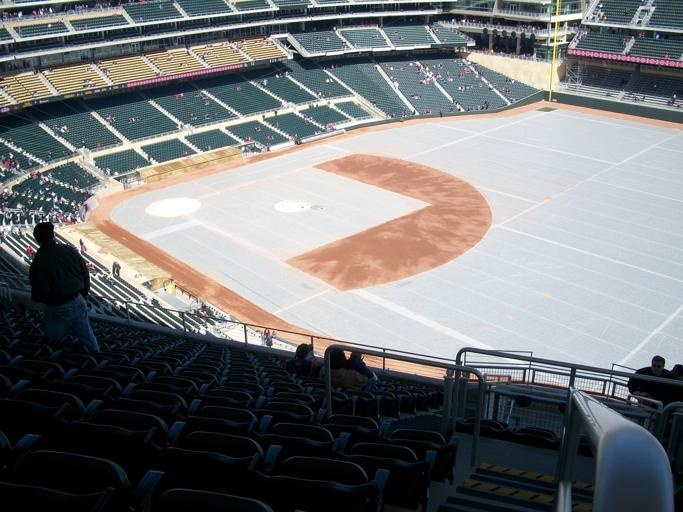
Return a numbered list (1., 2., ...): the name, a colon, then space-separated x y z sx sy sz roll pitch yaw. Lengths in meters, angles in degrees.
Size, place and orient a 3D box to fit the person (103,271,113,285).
1. person: -11.453 1.059 29.675 0.960 0.287 0.259 32 -4 35
